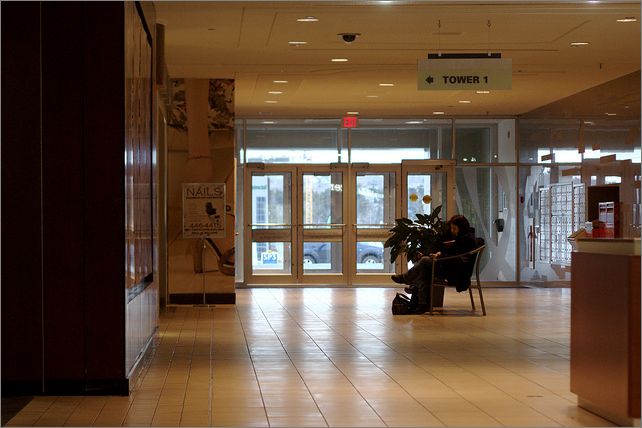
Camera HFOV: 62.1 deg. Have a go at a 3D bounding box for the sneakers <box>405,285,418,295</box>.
[{"bbox_3d":[1.604,1.320,9.276,0.290,0.089,0.122,8,-11,-32],"label":"sneakers"}]

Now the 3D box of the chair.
[{"bbox_3d":[2.184,1.023,9.052,1.095,1.329,0.973,1,-2,41],"label":"chair"}]

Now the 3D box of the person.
[{"bbox_3d":[1.985,0.855,9.201,1.377,1.793,0.765,8,-16,5],"label":"person"}]

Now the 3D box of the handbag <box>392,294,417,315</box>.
[{"bbox_3d":[1.440,1.548,9.224,0.378,0.366,0.314,0,-2,1],"label":"handbag"}]

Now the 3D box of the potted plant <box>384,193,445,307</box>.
[{"bbox_3d":[1.978,0.702,10.144,1.502,2.045,1.469,0,-4,3],"label":"potted plant"}]
